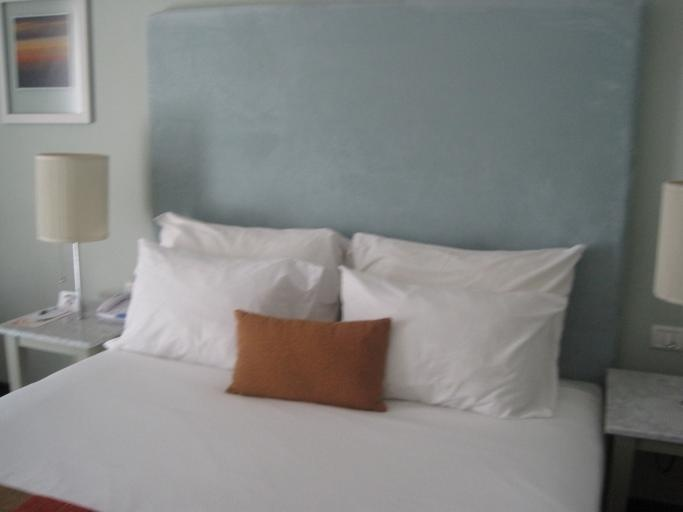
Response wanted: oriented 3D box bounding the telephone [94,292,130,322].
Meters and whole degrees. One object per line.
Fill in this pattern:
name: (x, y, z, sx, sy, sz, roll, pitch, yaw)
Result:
telephone: (-1.147, 0.259, 2.930, 0.160, 0.136, 0.050, -17, -40, 13)
